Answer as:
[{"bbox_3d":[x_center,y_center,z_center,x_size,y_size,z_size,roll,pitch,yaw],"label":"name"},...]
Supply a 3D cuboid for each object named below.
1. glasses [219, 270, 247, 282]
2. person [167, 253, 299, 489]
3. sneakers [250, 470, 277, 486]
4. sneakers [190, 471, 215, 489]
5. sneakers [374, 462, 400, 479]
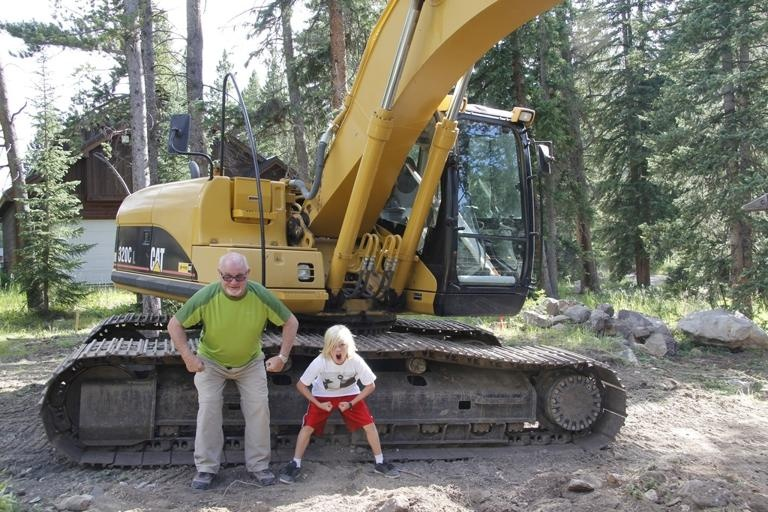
[{"bbox_3d":[-1.862,0.269,8.028,0.306,0.122,0.090,0,8,-1],"label":"glasses"},{"bbox_3d":[-1.908,1.622,8.238,1.453,2.594,0.652,-3,9,-19],"label":"person"},{"bbox_3d":[-1.508,2.852,8.282,0.381,0.185,0.140,-8,-9,34],"label":"sneakers"},{"bbox_3d":[-2.282,2.858,8.159,0.126,0.169,0.361,2,-2,15],"label":"sneakers"},{"bbox_3d":[0.026,2.854,8.544,0.345,0.158,0.151,2,1,12],"label":"sneakers"}]
